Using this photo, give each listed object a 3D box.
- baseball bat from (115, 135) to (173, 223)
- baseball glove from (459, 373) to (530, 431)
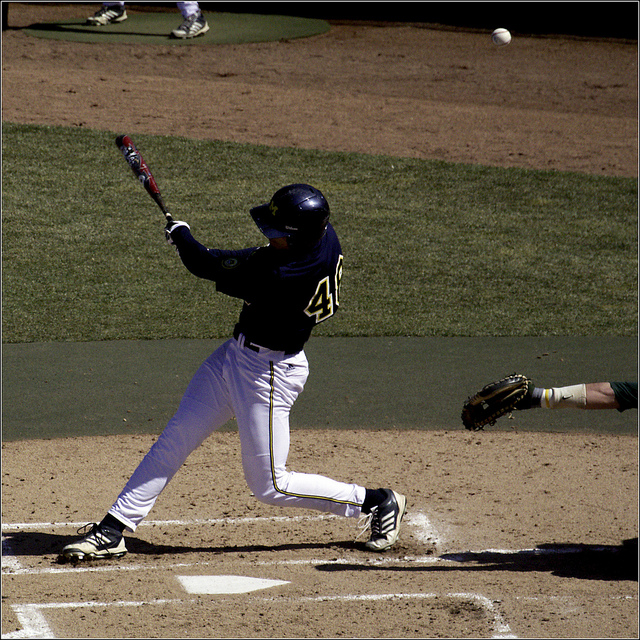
[{"bbox_3d":[-1.380,-1.117,15.737,0.127,0.873,0.102,-29,-7,-19],"label":"baseball bat"},{"bbox_3d":[1.390,0.639,15.432,0.549,0.357,0.192,-35,-4,10],"label":"baseball glove"}]
